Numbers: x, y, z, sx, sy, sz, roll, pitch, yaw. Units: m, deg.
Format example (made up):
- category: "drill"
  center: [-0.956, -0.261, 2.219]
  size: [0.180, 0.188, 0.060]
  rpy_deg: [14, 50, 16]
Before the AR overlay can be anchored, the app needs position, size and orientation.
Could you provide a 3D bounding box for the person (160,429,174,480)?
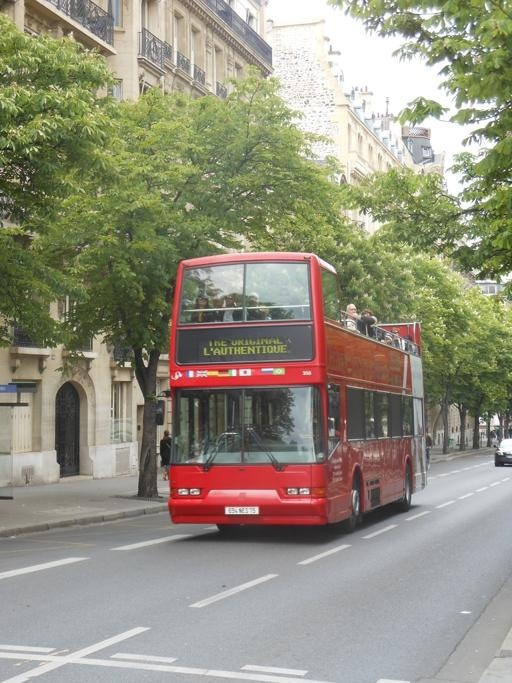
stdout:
- category: "person"
  center: [-2.683, 3.414, 23.321]
  size: [0.355, 1.388, 0.396]
  rpy_deg: [-4, -20, 3]
